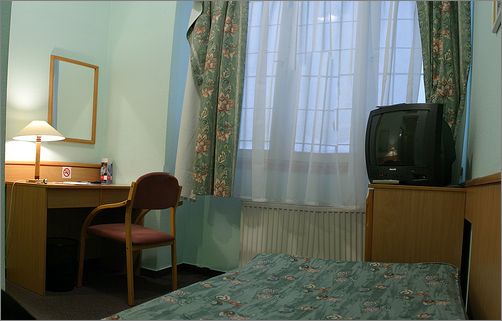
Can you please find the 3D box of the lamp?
[{"bbox_3d":[-2.049,-0.119,3.879,0.560,0.694,0.555,3,-1,-10],"label":"lamp"}]

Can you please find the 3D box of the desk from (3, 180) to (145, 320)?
[{"bbox_3d":[-1.686,0.643,3.830,0.948,1.222,1.355,3,0,38],"label":"desk"}]

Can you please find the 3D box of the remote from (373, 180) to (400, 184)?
[{"bbox_3d":[1.071,0.171,2.945,0.196,0.042,0.116,-2,0,18],"label":"remote"}]

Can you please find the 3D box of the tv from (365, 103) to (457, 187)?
[{"bbox_3d":[1.357,-0.110,3.242,0.638,0.659,0.689,-1,-2,37],"label":"tv"}]

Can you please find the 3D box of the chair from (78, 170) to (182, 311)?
[{"bbox_3d":[-1.131,0.665,3.532,0.743,1.111,0.730,1,-3,40],"label":"chair"}]

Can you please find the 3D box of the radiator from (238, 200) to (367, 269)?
[{"bbox_3d":[0.462,0.710,3.542,1.216,0.598,0.060,-2,0,18],"label":"radiator"}]
